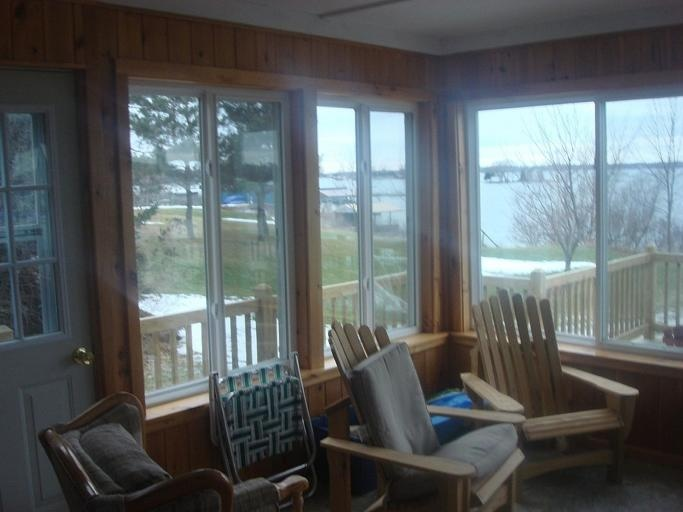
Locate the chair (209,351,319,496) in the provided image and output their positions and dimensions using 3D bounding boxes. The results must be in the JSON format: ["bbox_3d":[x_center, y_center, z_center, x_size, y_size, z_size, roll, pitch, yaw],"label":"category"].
[{"bbox_3d":[-0.519,1.154,3.646,0.603,0.922,0.522,-7,-28,-7],"label":"chair"}]

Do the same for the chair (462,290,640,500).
[{"bbox_3d":[1.371,0.930,3.976,0.858,1.095,1.133,-5,8,-4],"label":"chair"}]
